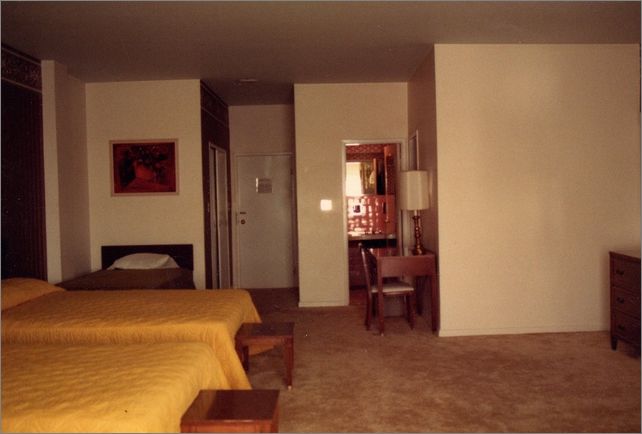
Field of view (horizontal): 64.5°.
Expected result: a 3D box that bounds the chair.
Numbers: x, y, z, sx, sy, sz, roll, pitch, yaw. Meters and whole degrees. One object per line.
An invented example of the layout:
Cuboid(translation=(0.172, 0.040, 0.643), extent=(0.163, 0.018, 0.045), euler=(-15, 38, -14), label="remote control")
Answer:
Cuboid(translation=(0.861, 0.861, 6.953), extent=(0.971, 1.432, 0.843), euler=(-2, 2, -2), label="chair")

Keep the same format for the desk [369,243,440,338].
Cuboid(translation=(1.028, 0.873, 6.423), extent=(0.785, 0.987, 0.663), euler=(-3, 1, -1), label="desk")

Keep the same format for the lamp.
Cuboid(translation=(1.209, -0.083, 6.437), extent=(0.367, 1.018, 0.510), euler=(-2, 2, 24), label="lamp")

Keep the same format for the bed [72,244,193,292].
Cuboid(translation=(-2.407, 0.656, 6.600), extent=(1.333, 0.513, 1.250), euler=(-2, 1, 9), label="bed")

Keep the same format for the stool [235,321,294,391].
Cuboid(translation=(-0.529, 1.316, 5.113), extent=(0.569, 0.564, 0.579), euler=(-1, -4, 1), label="stool")
